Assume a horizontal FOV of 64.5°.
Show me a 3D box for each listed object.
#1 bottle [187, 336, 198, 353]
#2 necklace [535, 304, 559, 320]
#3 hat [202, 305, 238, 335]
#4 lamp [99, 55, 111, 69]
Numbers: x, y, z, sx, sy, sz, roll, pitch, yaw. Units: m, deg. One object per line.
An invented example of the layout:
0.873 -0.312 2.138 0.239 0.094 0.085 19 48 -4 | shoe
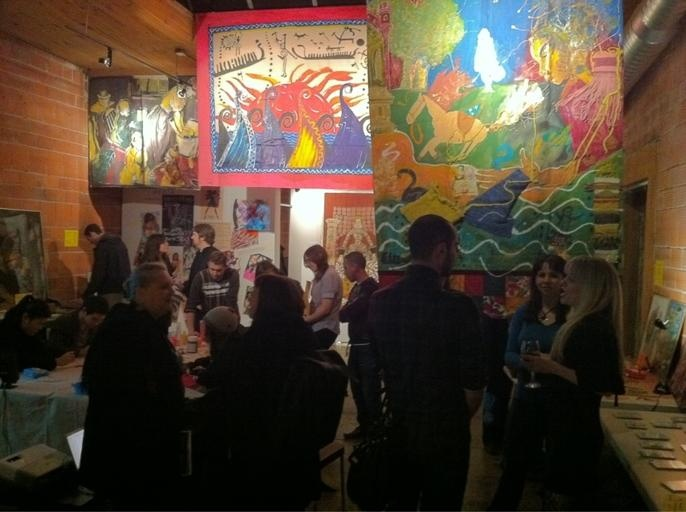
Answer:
-0.983 0.568 3.555 0.091 0.097 0.093 3 8 2 | bottle
1.278 0.345 3.376 0.075 0.099 0.024 1 -2 7 | necklace
-0.794 0.420 3.534 0.212 0.152 0.111 11 -41 -1 | hat
-1.645 -1.345 3.759 0.099 0.072 0.070 5 4 39 | lamp
